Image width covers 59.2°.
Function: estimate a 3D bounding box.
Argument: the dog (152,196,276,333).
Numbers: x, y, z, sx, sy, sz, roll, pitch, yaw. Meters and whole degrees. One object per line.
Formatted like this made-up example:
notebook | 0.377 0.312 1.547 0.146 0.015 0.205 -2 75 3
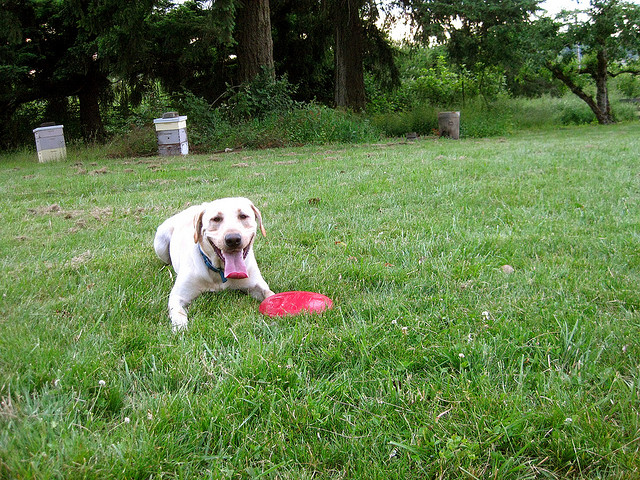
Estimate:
dog | -0.994 0.019 5.049 0.631 0.720 1.424 -4 17 -15
